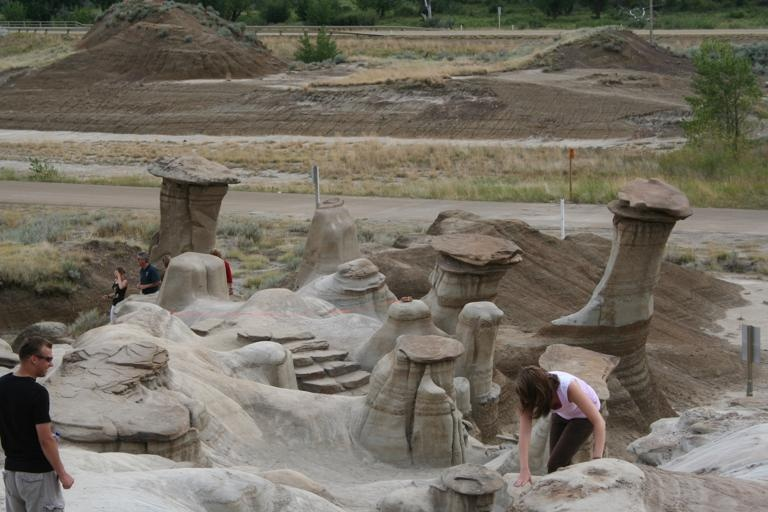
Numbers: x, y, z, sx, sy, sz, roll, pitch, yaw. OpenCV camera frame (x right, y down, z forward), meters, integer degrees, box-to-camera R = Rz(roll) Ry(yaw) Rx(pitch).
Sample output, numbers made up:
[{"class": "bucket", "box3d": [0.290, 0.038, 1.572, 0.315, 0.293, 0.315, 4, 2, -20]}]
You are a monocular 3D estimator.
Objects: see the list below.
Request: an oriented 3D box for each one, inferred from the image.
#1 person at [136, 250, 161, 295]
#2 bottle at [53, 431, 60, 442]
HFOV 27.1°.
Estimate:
[{"class": "person", "box3d": [-11.112, 0.710, 75.180, 1.025, 1.969, 0.734, -1, 10, -11]}, {"class": "bottle", "box3d": [-14.096, 7.766, 68.548, 0.147, 0.373, 0.272, -30, -16, 38]}]
